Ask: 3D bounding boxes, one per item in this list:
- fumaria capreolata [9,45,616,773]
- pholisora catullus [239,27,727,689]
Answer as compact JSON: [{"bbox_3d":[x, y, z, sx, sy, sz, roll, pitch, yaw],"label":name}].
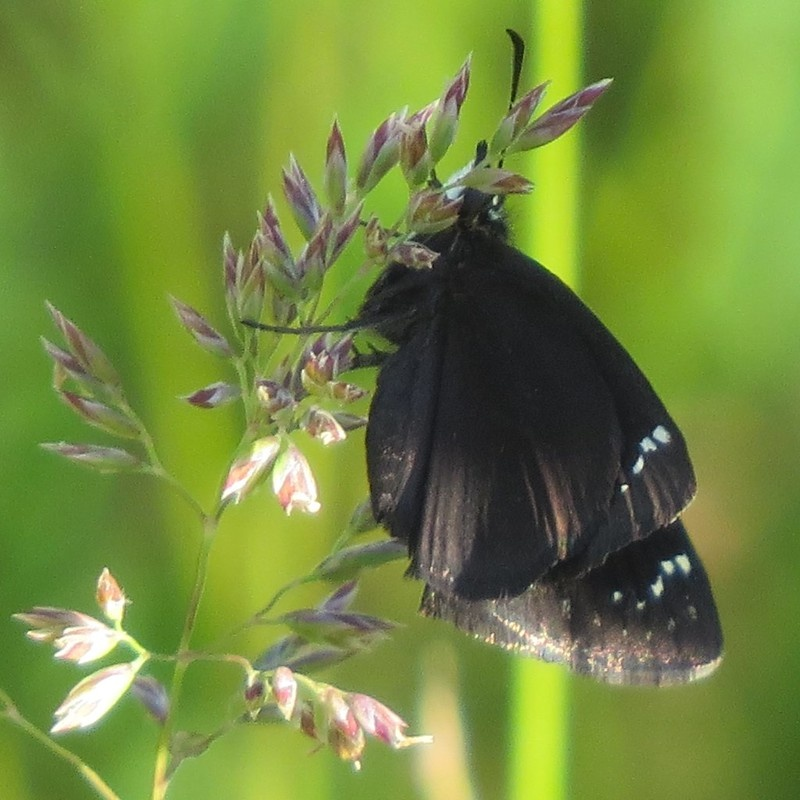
[{"bbox_3d":[-0.072,0.016,0.761,0.363,0.480,0.195,1,3,-5],"label":"fumaria capreolata"},{"bbox_3d":[0.086,0.030,0.845,0.238,0.464,0.385,8,46,16],"label":"pholisora catullus"}]
